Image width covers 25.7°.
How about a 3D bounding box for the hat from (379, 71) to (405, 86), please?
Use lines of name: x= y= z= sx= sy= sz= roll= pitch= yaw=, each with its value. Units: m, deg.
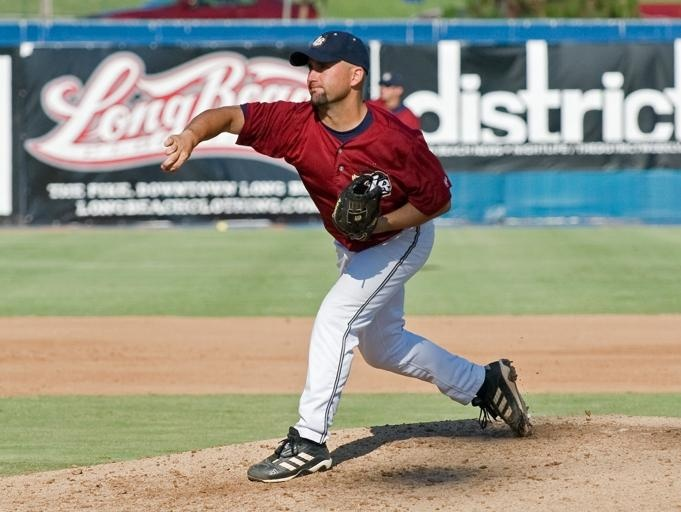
hat: x=0.683 y=-2.444 z=20.514 sx=0.258 sy=0.156 sz=0.341 roll=1 pitch=7 yaw=-2
